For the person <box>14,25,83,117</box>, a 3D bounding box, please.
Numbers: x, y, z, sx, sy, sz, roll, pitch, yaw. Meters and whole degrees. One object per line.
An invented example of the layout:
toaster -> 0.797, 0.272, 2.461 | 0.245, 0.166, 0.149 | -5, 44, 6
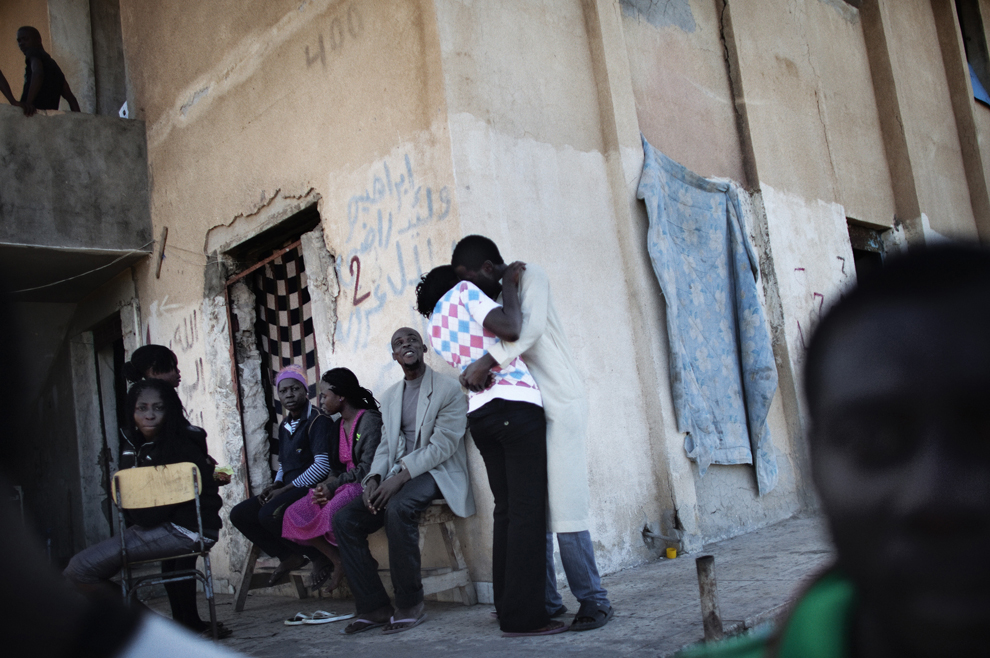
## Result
person -> -4.889, -2.831, 10.806 | 0.534, 1.056, 0.895 | -6, 0, -23

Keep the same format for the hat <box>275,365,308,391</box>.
hat -> -1.766, 0.412, 8.550 | 0.188, 0.219, 0.277 | -5, -28, -6

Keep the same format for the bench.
bench -> -1.112, 1.775, 7.704 | 1.682, 0.899, 0.905 | -4, 1, 26

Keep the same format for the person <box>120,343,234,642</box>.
person -> -2.396, 1.352, 7.620 | 0.746, 2.377, 0.894 | -14, -15, 4

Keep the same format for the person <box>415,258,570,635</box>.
person -> 0.015, 0.797, 6.559 | 0.367, 2.391, 0.764 | -6, 0, -40

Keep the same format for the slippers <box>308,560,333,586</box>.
slippers -> -1.411, 1.968, 8.001 | 0.120, 0.238, 0.096 | 6, 8, 24
